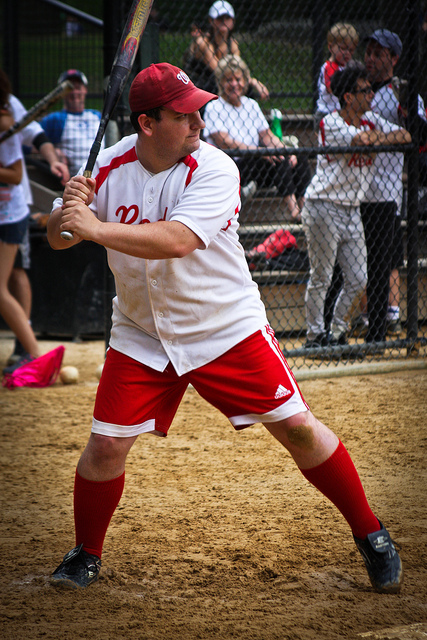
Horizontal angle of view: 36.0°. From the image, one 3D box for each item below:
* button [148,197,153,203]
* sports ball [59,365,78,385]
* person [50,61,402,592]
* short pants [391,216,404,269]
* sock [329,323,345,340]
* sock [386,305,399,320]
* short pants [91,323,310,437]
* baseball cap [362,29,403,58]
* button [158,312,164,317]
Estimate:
[{"bbox_3d":[-0.190,-0.360,1.954,0.017,0.015,0.004,1,5,-7],"label":"button"},{"bbox_3d":[-1.040,0.383,4.756,0.138,0.128,0.146,-3,50,3],"label":"sports ball"},{"bbox_3d":[-0.027,0.058,2.059,1.156,1.649,0.436,-2,15,6],"label":"person"},{"bbox_3d":[1.379,-0.575,4.910,0.084,0.398,0.289,1,15,19],"label":"short pants"},{"bbox_3d":[0.921,0.083,4.855,0.096,0.118,0.049,-1,15,9],"label":"sock"},{"bbox_3d":[1.405,-0.057,5.114,0.078,0.131,0.234,1,14,16],"label":"sock"},{"bbox_3d":[-0.045,0.219,2.065,0.663,0.371,0.236,-3,14,1],"label":"short pants"},{"bbox_3d":[1.222,-1.928,4.635,0.265,0.112,0.178,15,12,-32],"label":"baseball cap"},{"bbox_3d":[-0.159,-0.017,1.960,0.016,0.015,0.004,0,-1,-7],"label":"button"}]
